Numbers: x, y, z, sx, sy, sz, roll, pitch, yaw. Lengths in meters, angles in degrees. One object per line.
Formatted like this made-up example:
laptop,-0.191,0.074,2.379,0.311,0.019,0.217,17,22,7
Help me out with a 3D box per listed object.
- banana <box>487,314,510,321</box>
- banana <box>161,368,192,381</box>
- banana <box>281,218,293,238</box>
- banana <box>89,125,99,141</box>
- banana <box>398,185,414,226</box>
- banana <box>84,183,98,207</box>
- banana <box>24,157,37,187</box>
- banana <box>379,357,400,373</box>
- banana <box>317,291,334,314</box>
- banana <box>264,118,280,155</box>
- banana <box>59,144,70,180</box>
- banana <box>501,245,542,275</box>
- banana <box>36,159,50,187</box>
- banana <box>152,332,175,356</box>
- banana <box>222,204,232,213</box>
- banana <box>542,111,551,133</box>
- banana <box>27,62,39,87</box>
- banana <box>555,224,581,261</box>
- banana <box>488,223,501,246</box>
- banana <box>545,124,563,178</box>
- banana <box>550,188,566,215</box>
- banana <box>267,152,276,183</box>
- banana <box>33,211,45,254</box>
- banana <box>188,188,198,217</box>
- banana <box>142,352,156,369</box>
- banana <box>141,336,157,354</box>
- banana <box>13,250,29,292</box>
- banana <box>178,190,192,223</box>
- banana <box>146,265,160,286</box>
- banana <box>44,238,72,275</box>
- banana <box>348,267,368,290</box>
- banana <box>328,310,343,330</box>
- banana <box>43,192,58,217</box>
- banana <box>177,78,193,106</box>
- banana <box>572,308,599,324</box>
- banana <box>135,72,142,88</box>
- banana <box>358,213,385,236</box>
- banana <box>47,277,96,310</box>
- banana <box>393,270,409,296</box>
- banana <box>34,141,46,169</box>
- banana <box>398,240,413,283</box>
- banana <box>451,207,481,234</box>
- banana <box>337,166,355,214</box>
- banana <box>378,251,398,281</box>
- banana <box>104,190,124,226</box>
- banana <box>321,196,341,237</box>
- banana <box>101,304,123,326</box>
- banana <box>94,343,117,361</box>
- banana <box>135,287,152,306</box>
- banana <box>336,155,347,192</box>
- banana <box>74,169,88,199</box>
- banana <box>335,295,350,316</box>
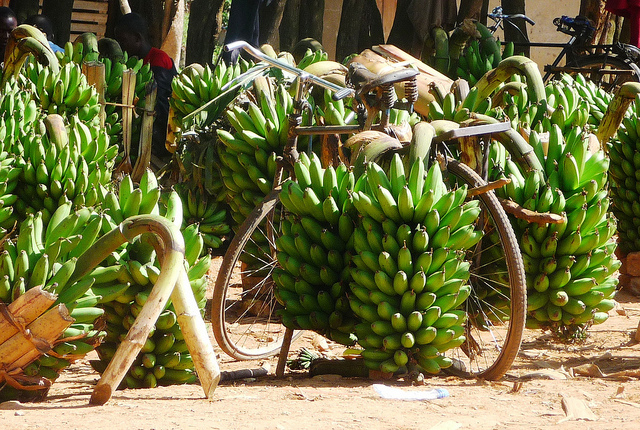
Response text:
banana,1.419,0.827,5.597,0.202,0.082,0.058,-3,-3,3
banana,-1.012,1.144,5.045,0.253,0.078,0.087,4,20,-25
banana,-0.258,0.108,5.417,0.077,0.132,0.029,11,18,29
banana,-2.111,-0.764,6.612,0.115,0.183,0.061,3,10,11
banana,0.606,-0.057,4.991,0.078,0.328,0.109,-8,27,-2
banana,-1.796,-0.140,5.509,0.054,0.213,0.077,-1,24,-42
banana,-2.295,-0.330,5.611,0.053,0.229,0.074,-5,7,7
banana,0.487,1.070,4.942,0.071,0.093,0.132,14,9,10
banana,0.045,0.646,5.166,0.077,0.169,0.055,-26,22,11
banana,-0.428,-0.721,6.670,0.094,0.401,0.122,-7,14,10
banana,-2.047,-0.413,5.640,0.057,0.274,0.087,4,0,-39
banana,1.515,0.344,5.272,0.235,0.085,0.055,46,48,5
banana,-2.195,-0.304,5.602,0.059,0.250,0.081,-8,3,-5
banana,-1.080,0.898,4.879,0.070,0.271,0.095,34,42,3
banana,-1.076,-0.065,8.221,0.123,0.122,0.033,16,-18,-20
banana,2.055,-0.818,6.370,0.056,0.234,0.073,5,3,32
banana,-3.222,-1.560,7.889,0.105,0.235,0.305,-2,15,-28
banana,1.904,0.209,5.411,0.062,0.253,0.096,25,8,3
banana,1.368,0.171,5.507,0.064,0.202,0.059,-19,-3,-15
banana,1.883,-0.518,5.704,0.110,0.479,0.148,10,-9,-15
banana,1.842,-0.074,5.436,0.071,0.263,0.105,25,-23,-26
banana,-0.457,-0.424,6.603,0.089,0.383,0.115,5,24,7
banana,-1.912,0.136,4.775,0.052,0.296,0.096,-3,-1,-3
banana,-1.436,-0.119,7.904,0.113,0.332,0.073,-4,3,-12
banana,-1.178,1.013,4.850,0.067,0.080,0.097,-1,-3,-3
banana,-1.173,0.909,4.837,0.058,0.120,0.113,21,10,11
banana,-1.903,0.346,4.492,0.070,0.298,0.093,2,-13,-16
banana,-1.369,-0.071,7.169,0.066,0.375,0.118,-6,7,11
banana,-1.124,0.414,4.733,0.037,0.141,0.055,-14,6,-8
banana,-1.731,0.254,4.575,0.076,0.111,0.278,13,51,13
banana,0.275,0.441,5.039,0.073,0.245,0.053,-24,12,-13
banana,0.114,0.769,5.137,0.077,0.133,0.077,15,22,-4
banana,-2.122,-0.084,5.541,0.049,0.204,0.065,-9,35,-3
banana,-1.512,-1.350,7.874,0.095,0.303,0.060,-16,10,27
banana,2.065,0.789,5.477,0.188,0.072,0.051,-32,16,-1
banana,-2.355,-1.734,9.125,0.033,0.208,0.069,10,-15,-20
banana,0.367,0.073,5.001,0.072,0.085,0.243,-37,58,-21
banana,-1.604,0.512,4.498,0.057,0.092,0.241,28,53,35
banana,0.562,0.482,4.885,0.079,0.175,0.055,4,21,11
banana,-2.257,-0.475,5.694,0.063,0.232,0.076,0,-7,0
banana,0.596,0.339,4.902,0.109,0.425,0.108,0,25,11
banana,1.021,0.072,5.102,0.113,0.096,0.347,-35,-9,-31
banana,0.201,-0.185,5.253,0.082,0.396,0.130,13,-1,25
banana,0.488,0.364,4.937,0.088,0.272,0.081,25,64,30
banana,-1.455,-0.033,4.969,0.056,0.235,0.079,-17,-10,8
banana,0.090,0.019,5.201,0.085,0.362,0.113,-10,19,14
banana,-1.443,0.715,4.891,0.129,0.101,0.035,43,-10,-9
banana,-1.500,0.961,4.943,0.131,0.076,0.218,-8,-15,11
banana,-1.210,0.572,4.790,0.102,0.116,0.111,3,13,-11
banana,0.167,-0.304,5.419,0.057,0.249,0.080,7,-7,-20
banana,-1.916,-0.248,5.636,0.064,0.268,0.088,9,-5,-24
banana,0.165,0.668,5.155,0.083,0.139,0.078,0,21,-22
